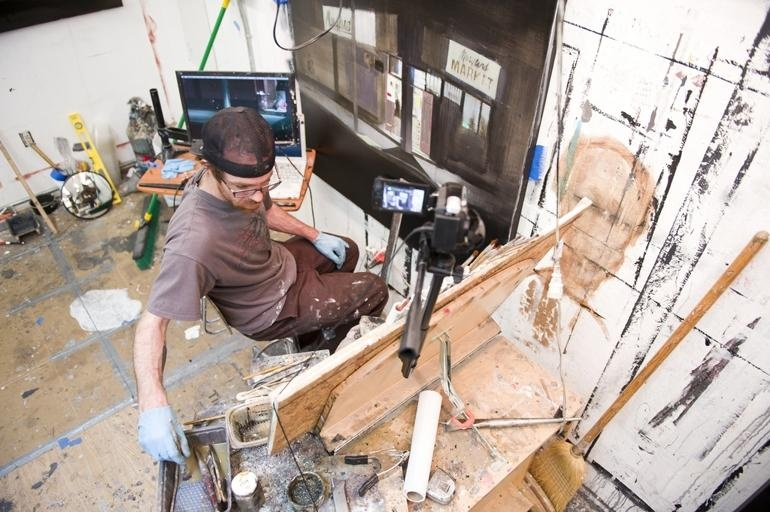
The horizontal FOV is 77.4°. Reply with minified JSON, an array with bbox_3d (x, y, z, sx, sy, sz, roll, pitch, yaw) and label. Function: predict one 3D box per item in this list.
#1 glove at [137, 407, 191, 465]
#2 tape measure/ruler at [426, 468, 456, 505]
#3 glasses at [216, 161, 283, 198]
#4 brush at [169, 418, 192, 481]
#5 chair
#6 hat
[{"bbox_3d":[-0.985,0.829,2.160,0.191,0.273,0.099,-21,-3,-14],"label":"glove"},{"bbox_3d":[0.251,1.012,2.104,0.120,0.076,0.117,12,35,17],"label":"tape measure/ruler"},{"bbox_3d":[-0.676,-0.376,2.364,0.229,0.074,0.240,-24,54,-29],"label":"glasses"},{"bbox_3d":[-0.929,0.893,2.182,0.105,0.328,0.100,2,41,-7],"label":"brush"},{"bbox_3d":[-0.740,0.510,2.837,0.323,0.552,0.295,-23,45,36],"label":"chair"},{"bbox_3d":[-0.695,-0.546,2.315,0.286,0.281,0.288,23,40,30],"label":"hat"}]
